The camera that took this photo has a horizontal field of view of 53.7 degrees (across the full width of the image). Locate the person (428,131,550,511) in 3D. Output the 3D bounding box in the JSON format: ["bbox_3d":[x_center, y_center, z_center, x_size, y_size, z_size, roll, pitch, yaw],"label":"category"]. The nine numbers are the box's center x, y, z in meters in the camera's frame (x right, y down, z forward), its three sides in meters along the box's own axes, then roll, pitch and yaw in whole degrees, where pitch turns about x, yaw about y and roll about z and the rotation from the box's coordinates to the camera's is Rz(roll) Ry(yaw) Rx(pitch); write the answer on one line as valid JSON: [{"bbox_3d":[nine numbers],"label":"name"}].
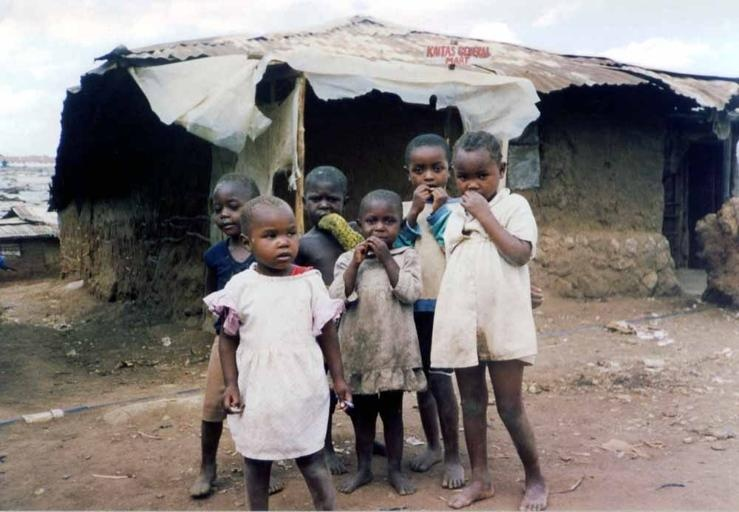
[{"bbox_3d":[0.944,0.502,5.871,0.883,3.000,0.421,-1,3,13],"label":"person"}]
